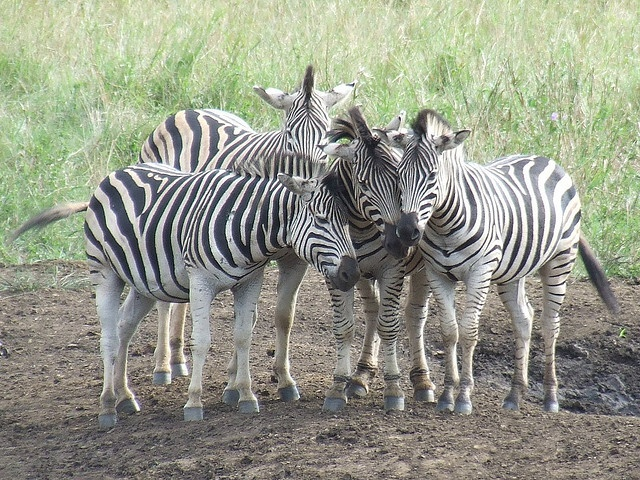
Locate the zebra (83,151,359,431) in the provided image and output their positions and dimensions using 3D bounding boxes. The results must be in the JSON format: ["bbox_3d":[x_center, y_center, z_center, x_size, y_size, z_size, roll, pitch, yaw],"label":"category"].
[{"bbox_3d":[-0.940,0.387,8.495,2.756,2.397,0.880,1,1,27],"label":"zebra"}]
